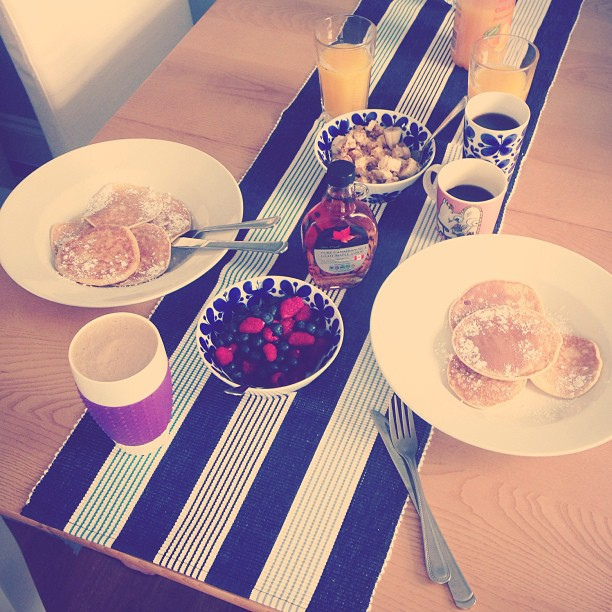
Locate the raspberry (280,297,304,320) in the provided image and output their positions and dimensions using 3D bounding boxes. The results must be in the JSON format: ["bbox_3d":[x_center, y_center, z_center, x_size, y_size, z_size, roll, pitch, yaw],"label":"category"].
[{"bbox_3d":[-0.021,0.002,0.882,0.032,0.009,0.021,-40,99,-28],"label":"raspberry"}]

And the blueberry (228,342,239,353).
[{"bbox_3d":[-0.102,0.058,0.870,0.011,0.010,0.016,-34,64,-22],"label":"blueberry"}]

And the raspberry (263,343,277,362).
[{"bbox_3d":[-0.049,0.064,0.850,0.016,0.011,0.021,-32,86,-4],"label":"raspberry"}]

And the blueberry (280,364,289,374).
[{"bbox_3d":[-0.030,0.086,0.853,0.012,0.005,0.013,-4,83,4],"label":"blueberry"}]

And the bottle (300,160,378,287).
[{"bbox_3d":[0.050,-0.119,0.937,0.117,0.215,0.059,-5,43,-7],"label":"bottle"}]

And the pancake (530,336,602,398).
[{"bbox_3d":[0.330,0.076,0.801,0.078,0.021,0.072,15,73,19],"label":"pancake"}]

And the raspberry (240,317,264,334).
[{"bbox_3d":[-0.076,0.030,0.871,0.034,0.020,0.022,4,56,0],"label":"raspberry"}]

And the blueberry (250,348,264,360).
[{"bbox_3d":[-0.068,0.067,0.855,0.018,0.008,0.012,-17,58,-14],"label":"blueberry"}]

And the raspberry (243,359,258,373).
[{"bbox_3d":[-0.077,0.083,0.857,0.019,0.010,0.017,0,56,-3],"label":"raspberry"}]

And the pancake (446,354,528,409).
[{"bbox_3d":[0.227,0.103,0.794,0.099,0.024,0.060,21,58,11],"label":"pancake"}]

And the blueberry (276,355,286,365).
[{"bbox_3d":[-0.035,0.074,0.852,0.013,0.008,0.011,-5,56,-6],"label":"blueberry"}]

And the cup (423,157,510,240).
[{"bbox_3d":[0.249,-0.186,1.014,0.151,0.108,0.098,34,67,31],"label":"cup"}]

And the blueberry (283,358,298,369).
[{"bbox_3d":[-0.021,0.080,0.854,0.018,0.012,0.011,-3,56,-5],"label":"blueberry"}]

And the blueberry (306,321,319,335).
[{"bbox_3d":[0.008,0.032,0.873,0.015,0.009,0.015,-30,81,-14],"label":"blueberry"}]

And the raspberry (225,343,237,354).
[{"bbox_3d":[-0.104,0.060,0.871,0.011,0.006,0.014,5,91,1],"label":"raspberry"}]

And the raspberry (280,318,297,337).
[{"bbox_3d":[-0.027,0.033,0.881,0.019,0.014,0.025,26,78,-16],"label":"raspberry"}]

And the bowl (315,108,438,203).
[{"bbox_3d":[0.120,-0.253,1.070,0.187,0.073,0.186,1,54,-2],"label":"bowl"}]

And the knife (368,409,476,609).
[{"bbox_3d":[0.112,0.224,0.812,0.044,0.043,0.373,-17,61,-10],"label":"knife"}]

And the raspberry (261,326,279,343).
[{"bbox_3d":[-0.052,0.040,0.863,0.021,0.010,0.029,-19,59,-15],"label":"raspberry"}]

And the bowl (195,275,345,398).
[{"bbox_3d":[-0.054,0.034,0.881,0.182,0.082,0.183,0,50,0],"label":"bowl"}]

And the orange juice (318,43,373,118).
[{"bbox_3d":[0.071,-0.434,1.193,0.101,0.126,0.102,3,56,0],"label":"orange juice"}]

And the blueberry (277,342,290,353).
[{"bbox_3d":[-0.031,0.058,0.858,0.017,0.010,0.014,26,59,14],"label":"blueberry"}]

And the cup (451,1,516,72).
[{"bbox_3d":[0.337,-0.540,1.258,0.079,0.125,0.118,32,49,32],"label":"cup"}]

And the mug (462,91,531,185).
[{"bbox_3d":[0.300,-0.287,1.059,0.099,0.187,0.116,10,52,14],"label":"mug"}]

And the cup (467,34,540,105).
[{"bbox_3d":[0.352,-0.423,1.118,0.101,0.190,0.118,11,52,14],"label":"cup"}]

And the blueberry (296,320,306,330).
[{"bbox_3d":[-0.008,0.029,0.876,0.013,0.009,0.011,3,56,0],"label":"blueberry"}]

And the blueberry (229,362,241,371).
[{"bbox_3d":[-0.098,0.084,0.860,0.018,0.006,0.014,13,56,6],"label":"blueberry"}]

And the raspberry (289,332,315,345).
[{"bbox_3d":[-0.006,0.046,0.865,0.036,0.015,0.017,7,56,2],"label":"raspberry"}]

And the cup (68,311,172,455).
[{"bbox_3d":[-0.229,0.104,0.764,0.131,0.201,0.130,-1,49,1],"label":"cup"}]

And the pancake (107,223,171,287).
[{"bbox_3d":[-0.242,-0.080,0.968,0.086,0.016,0.089,-13,66,-4],"label":"pancake"}]
